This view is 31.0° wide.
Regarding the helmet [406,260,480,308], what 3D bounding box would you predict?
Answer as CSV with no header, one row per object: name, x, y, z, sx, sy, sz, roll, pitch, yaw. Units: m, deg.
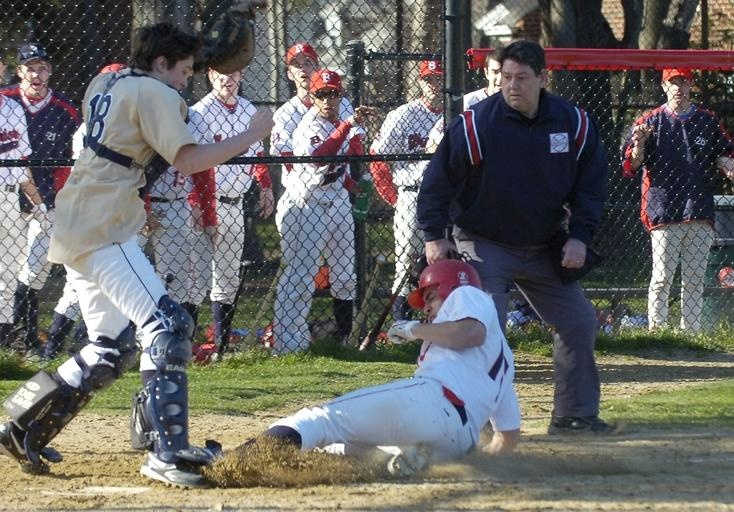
helmet,0.539,0.214,9.346,0.427,0.240,0.296,-8,-14,-1
